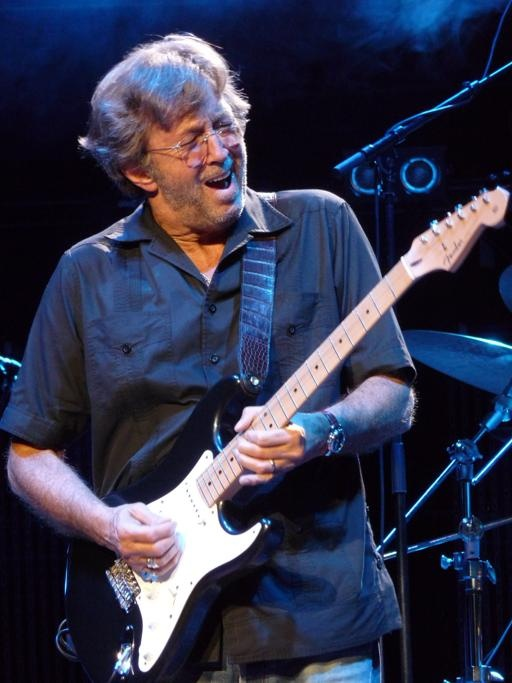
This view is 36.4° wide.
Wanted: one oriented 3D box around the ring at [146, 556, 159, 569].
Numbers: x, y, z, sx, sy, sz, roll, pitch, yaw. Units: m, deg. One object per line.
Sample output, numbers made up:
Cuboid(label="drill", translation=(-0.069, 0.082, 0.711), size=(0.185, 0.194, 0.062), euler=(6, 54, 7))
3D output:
Cuboid(label="ring", translation=(-0.208, 0.442, 1.555), size=(0.006, 0.026, 0.020), euler=(-5, -12, -42))

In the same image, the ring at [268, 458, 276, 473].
Cuboid(label="ring", translation=(0.028, 0.214, 1.342), size=(0.010, 0.021, 0.017), euler=(-8, 1, -2))

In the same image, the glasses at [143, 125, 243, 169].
Cuboid(label="glasses", translation=(-0.134, -0.443, 1.779), size=(0.118, 0.035, 0.122), euler=(-24, 6, -42))

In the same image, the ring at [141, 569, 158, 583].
Cuboid(label="ring", translation=(-0.218, 0.477, 1.582), size=(0.010, 0.025, 0.038), euler=(11, 13, -34))

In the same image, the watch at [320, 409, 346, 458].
Cuboid(label="watch", translation=(0.136, 0.162, 1.391), size=(0.040, 0.070, 0.050), euler=(-7, 1, -4))
